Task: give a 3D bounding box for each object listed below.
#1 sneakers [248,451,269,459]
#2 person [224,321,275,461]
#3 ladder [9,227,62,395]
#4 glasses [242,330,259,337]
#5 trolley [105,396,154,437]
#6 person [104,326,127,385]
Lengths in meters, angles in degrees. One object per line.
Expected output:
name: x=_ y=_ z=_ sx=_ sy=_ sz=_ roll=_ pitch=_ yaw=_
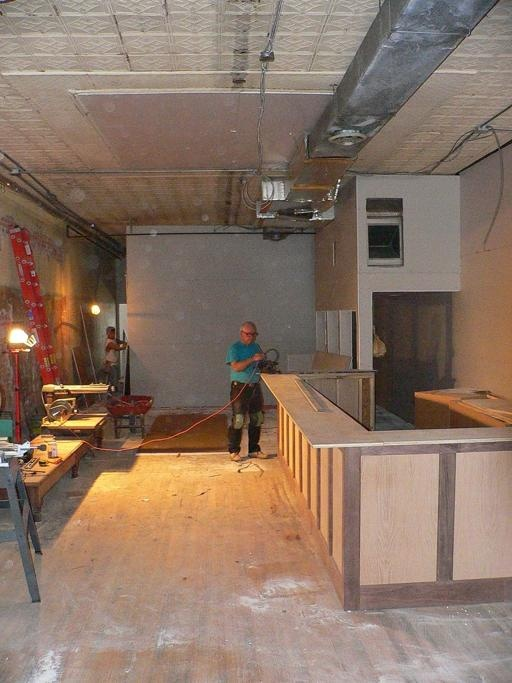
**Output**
sneakers: x=0.027 y=1.215 z=5.855 sx=0.233 sy=0.087 sz=0.074 roll=0 pitch=2 yaw=10
person: x=-0.115 y=0.525 z=5.646 sx=0.391 sy=1.474 sz=0.908 roll=-2 pitch=4 yaw=-4
ladder: x=-2.914 y=-0.468 z=7.009 sx=0.491 sy=2.076 sz=0.413 roll=-3 pitch=4 yaw=-19
glasses: x=-0.073 y=-0.089 z=5.417 sx=0.149 sy=0.078 sz=0.159 roll=-1 pitch=3 yaw=-2
trolley: x=-1.641 y=0.984 z=7.018 sx=0.490 sy=0.382 sz=0.661 roll=0 pitch=4 yaw=-7
person: x=-2.586 y=0.269 z=9.810 sx=0.409 sy=1.083 sz=1.212 roll=-3 pitch=4 yaw=-16
